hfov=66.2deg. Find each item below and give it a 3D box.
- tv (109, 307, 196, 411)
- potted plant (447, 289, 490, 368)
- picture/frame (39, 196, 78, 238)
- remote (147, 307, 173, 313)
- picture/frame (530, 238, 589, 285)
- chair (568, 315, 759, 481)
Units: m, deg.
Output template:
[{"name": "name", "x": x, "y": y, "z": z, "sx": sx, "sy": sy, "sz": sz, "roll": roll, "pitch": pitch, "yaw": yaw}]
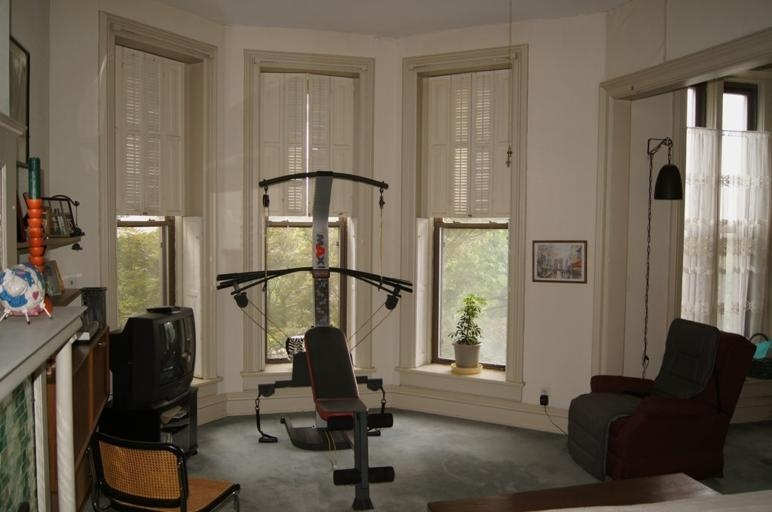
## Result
[{"name": "tv", "x": -2.025, "y": 0.862, "z": 5.139, "sx": 0.493, "sy": 0.774, "sz": 0.652, "roll": 1, "pitch": 9, "yaw": 7}, {"name": "potted plant", "x": 0.942, "y": 0.878, "z": 6.808, "sx": 0.389, "sy": 0.861, "sz": 0.377, "roll": 2, "pitch": 9, "yaw": 9}, {"name": "picture/frame", "x": -2.556, "y": -0.305, "z": 4.626, "sx": 0.151, "sy": 0.390, "sz": 0.423, "roll": -1, "pitch": 3, "yaw": -4}, {"name": "remote", "x": -1.970, "y": 0.479, "z": 5.252, "sx": 0.125, "sy": 0.032, "sz": 0.085, "roll": 1, "pitch": 2, "yaw": 11}, {"name": "picture/frame", "x": 1.857, "y": 0.050, "z": 6.243, "sx": 0.493, "sy": 0.425, "sz": 0.033, "roll": 0, "pitch": -4, "yaw": 18}, {"name": "chair", "x": 2.481, "y": 1.298, "z": 5.513, "sx": 1.373, "sy": 1.290, "sz": 1.137, "roll": -2, "pitch": 1, "yaw": 0}]
